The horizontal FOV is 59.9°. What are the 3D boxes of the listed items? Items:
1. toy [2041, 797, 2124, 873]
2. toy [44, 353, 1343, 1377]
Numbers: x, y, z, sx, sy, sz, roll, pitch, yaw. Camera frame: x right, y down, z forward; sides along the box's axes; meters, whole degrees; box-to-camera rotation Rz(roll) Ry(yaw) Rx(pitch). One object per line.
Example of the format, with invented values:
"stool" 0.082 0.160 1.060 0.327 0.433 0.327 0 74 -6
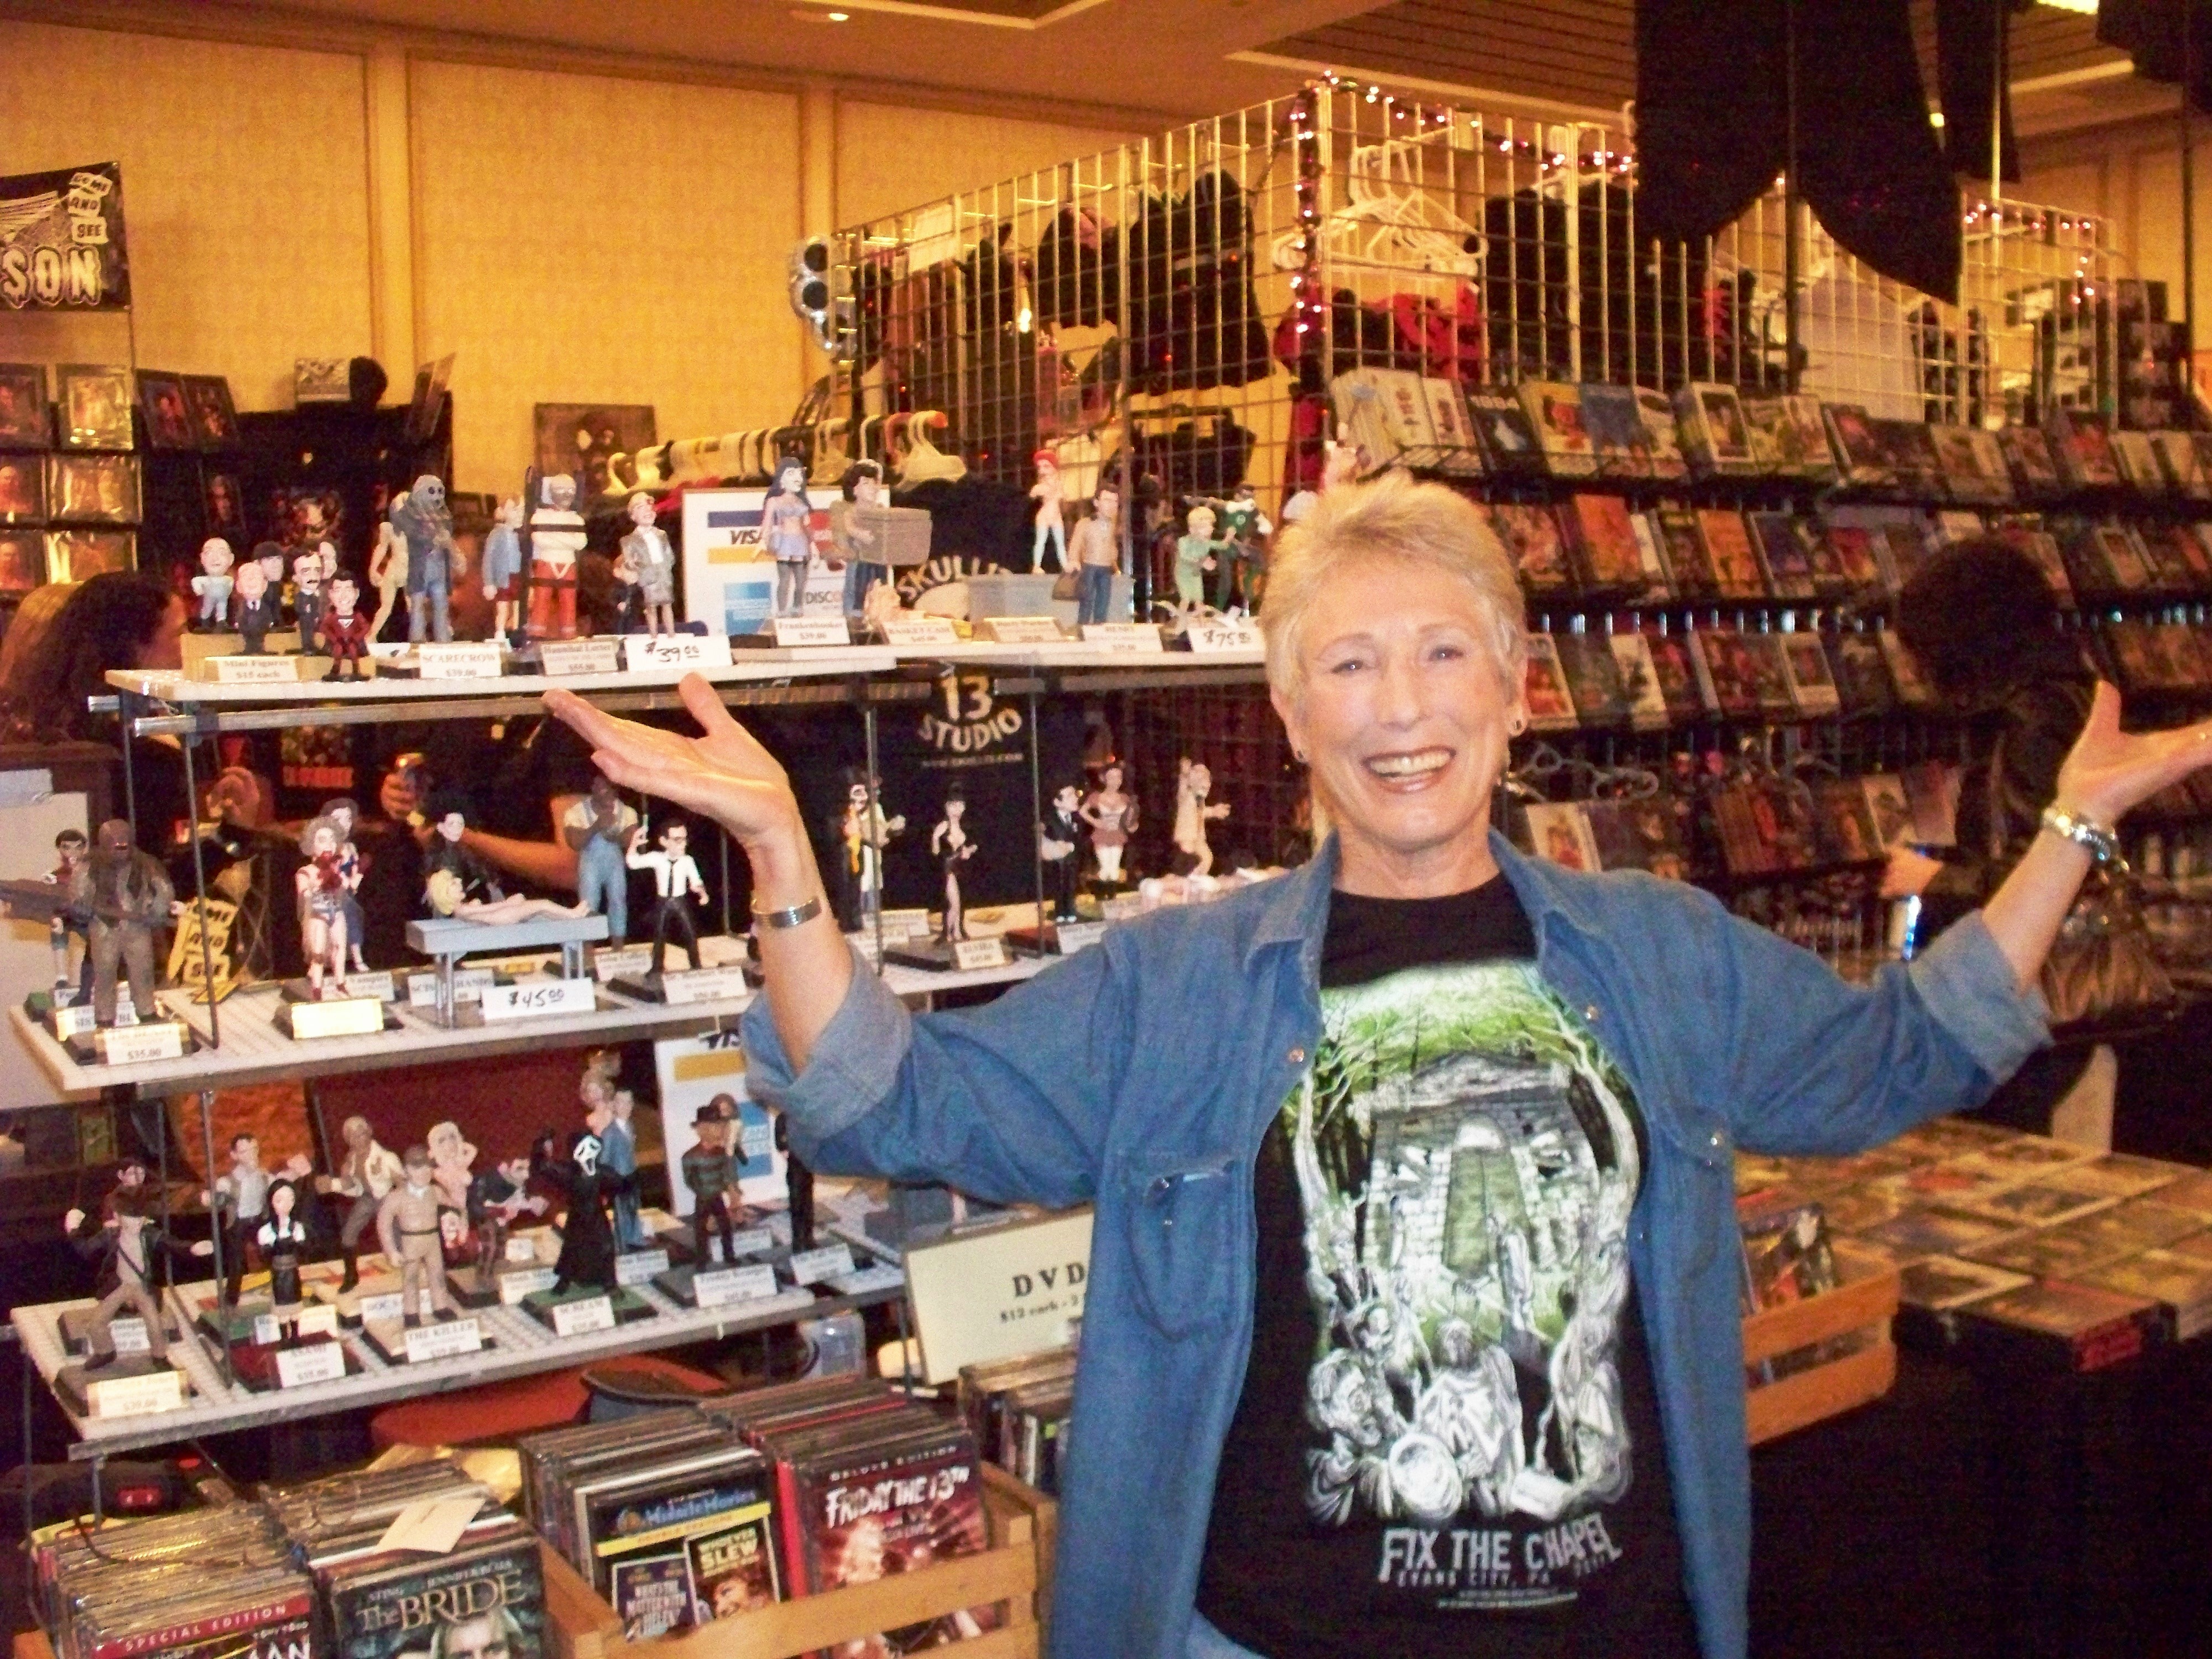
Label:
"toy" 1.254 0.005 2.468 0.087 0.064 0.086 22 -36 0
"toy" -0.316 -0.076 2.270 0.796 1.403 1.453 0 4 37
